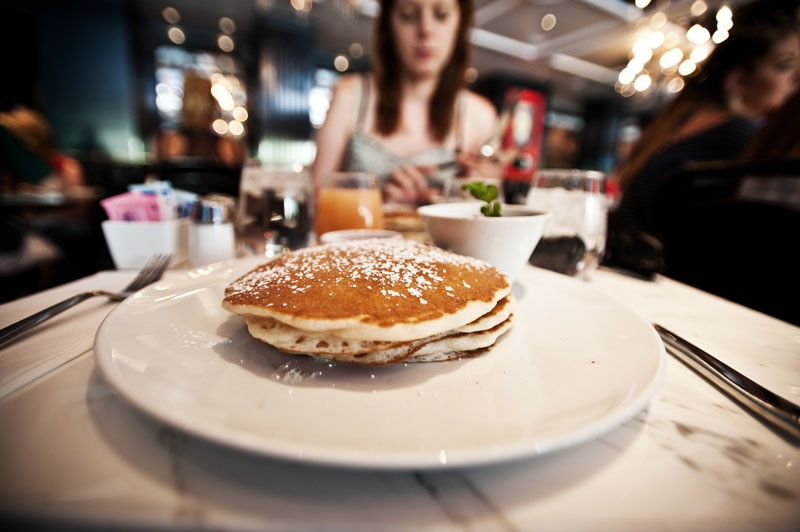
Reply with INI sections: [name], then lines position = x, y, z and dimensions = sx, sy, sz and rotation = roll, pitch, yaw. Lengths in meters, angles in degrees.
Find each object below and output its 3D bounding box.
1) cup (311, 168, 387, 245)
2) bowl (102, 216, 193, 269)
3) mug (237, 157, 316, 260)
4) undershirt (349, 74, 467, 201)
[cup]
position = -0.215, -0.249, 2.193
dimensions = 0.279, 0.261, 0.275
rotation = 2, 8, 0
[bowl]
position = -0.991, -0.085, 2.126
dimensions = 0.355, 0.220, 0.432
rotation = -2, 5, -22
[mug]
position = -0.513, -0.191, 2.283
dimensions = 0.320, 0.455, 0.298
rotation = -3, -12, 9
[undershirt]
position = -0.045, -0.699, 3.411
dimensions = 0.740, 0.711, 0.217
rotation = 4, -6, 5
